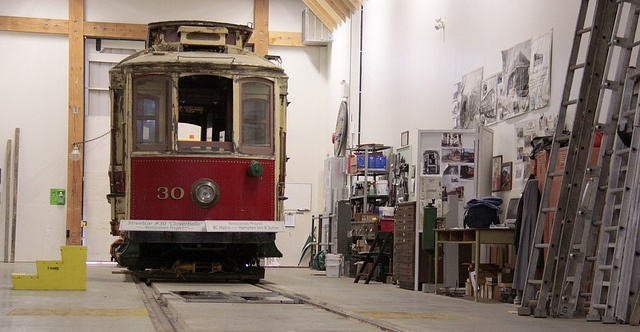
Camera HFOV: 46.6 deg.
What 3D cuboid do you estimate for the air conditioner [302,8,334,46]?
[{"bbox_3d":[-0.134,-5.243,27.884,1.061,1.293,0.378,1,3,-2],"label":"air conditioner"}]

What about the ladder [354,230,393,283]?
[{"bbox_3d":[1.439,2.329,19.542,1.115,1.535,0.756,3,0,4],"label":"ladder"}]

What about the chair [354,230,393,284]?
[{"bbox_3d":[1.446,2.323,19.481,1.096,1.529,0.748,3,0,2],"label":"chair"}]

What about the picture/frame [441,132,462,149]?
[{"bbox_3d":[3.055,-0.604,17.488,0.422,0.261,0.021,2,-1,-7],"label":"picture/frame"}]

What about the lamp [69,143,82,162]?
[{"bbox_3d":[-8.666,-0.464,26.324,0.423,0.668,0.488,0,3,-15],"label":"lamp"}]

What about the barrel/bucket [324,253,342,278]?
[{"bbox_3d":[0.380,2.858,21.271,0.603,0.578,0.565,0,-10,0],"label":"barrel/bucket"}]

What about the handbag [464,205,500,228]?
[{"bbox_3d":[3.392,1.062,15.662,0.650,0.442,0.432,-3,0,-9],"label":"handbag"}]
